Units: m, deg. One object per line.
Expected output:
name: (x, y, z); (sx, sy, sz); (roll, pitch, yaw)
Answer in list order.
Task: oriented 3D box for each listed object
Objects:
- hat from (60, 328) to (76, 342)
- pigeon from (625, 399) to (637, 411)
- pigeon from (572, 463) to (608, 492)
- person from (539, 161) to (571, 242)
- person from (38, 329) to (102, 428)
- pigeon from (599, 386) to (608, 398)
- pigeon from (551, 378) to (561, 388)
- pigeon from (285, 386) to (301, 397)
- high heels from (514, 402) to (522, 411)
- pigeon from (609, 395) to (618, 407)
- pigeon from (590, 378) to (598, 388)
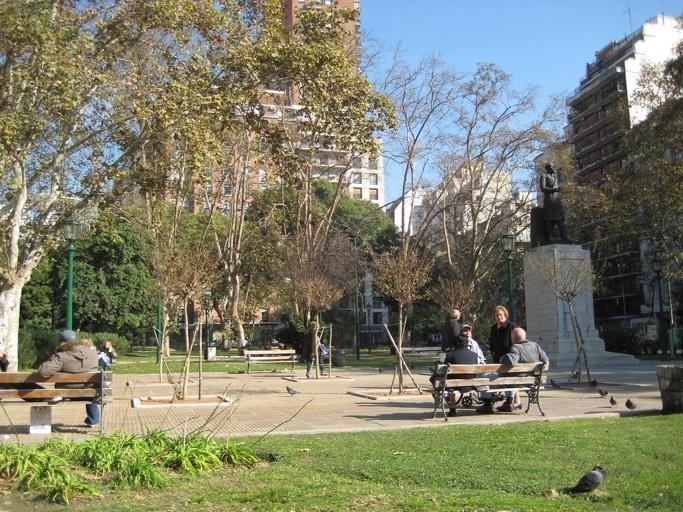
hat: (-5.864, 1.700, 17.099); (0.301, 0.239, 0.400); (1, 0, -32)
pigeon: (6.499, 3.332, 17.894); (0.208, 0.294, 0.404); (-2, -6, 10)
pigeon: (3.879, 3.506, 12.557); (0.493, 0.400, 0.323); (-4, -10, 13)
person: (8.628, -2.199, 32.531); (1.007, 3.346, 1.023); (-1, -8, 7)
person: (-5.622, 2.827, 16.899); (0.993, 2.297, 1.084); (9, 0, -6)
pigeon: (6.700, 3.503, 20.525); (0.095, 0.140, 0.321); (-12, -32, 16)
pigeon: (6.024, 3.651, 22.690); (0.320, 0.141, 0.340); (0, 1, 5)
pigeon: (-1.379, 3.613, 21.093); (0.382, 0.324, 0.447); (-9, -13, 26)
high heels: (4.051, 3.494, 18.386); (0.091, 0.107, 0.264); (-13, -23, 27)
pigeon: (6.248, 3.331, 18.329); (0.192, 0.262, 0.362); (-6, -2, 13)
pigeon: (7.058, 3.576, 22.391); (0.204, 0.147, 0.284); (0, -10, -1)
